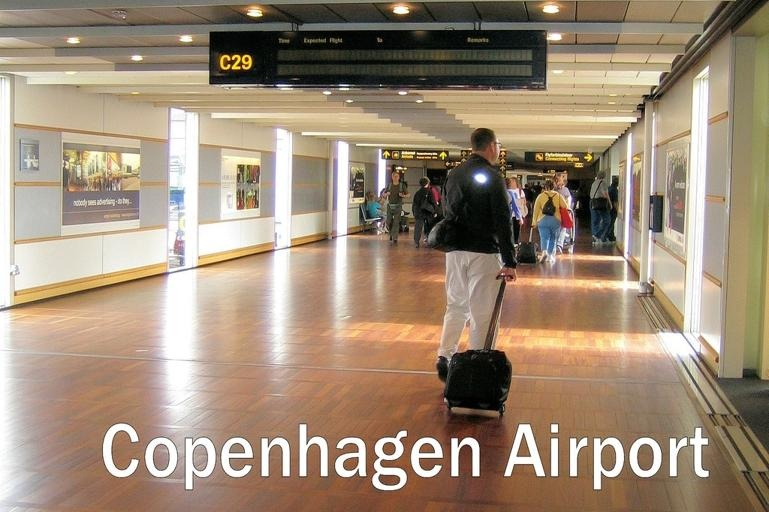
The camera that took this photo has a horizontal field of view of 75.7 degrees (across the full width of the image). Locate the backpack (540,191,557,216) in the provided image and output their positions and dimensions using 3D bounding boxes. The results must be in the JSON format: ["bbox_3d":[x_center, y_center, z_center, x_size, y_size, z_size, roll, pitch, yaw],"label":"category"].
[{"bbox_3d":[4.382,-1.400,13.151,0.598,0.750,0.376,4,10,22],"label":"backpack"}]

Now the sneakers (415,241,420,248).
[{"bbox_3d":[1.170,-0.423,17.672,0.196,0.235,0.625,-1,-6,6],"label":"sneakers"}]

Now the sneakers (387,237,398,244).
[{"bbox_3d":[0.341,-0.591,19.382,0.315,0.283,0.183,1,1,9],"label":"sneakers"}]

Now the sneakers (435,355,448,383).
[{"bbox_3d":[0.573,1.118,4.866,0.098,0.252,0.118,-5,0,10],"label":"sneakers"}]

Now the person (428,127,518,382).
[{"bbox_3d":[0.850,0.030,4.681,0.753,2.486,0.702,2,7,13],"label":"person"}]

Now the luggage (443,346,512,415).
[{"bbox_3d":[0.844,1.091,4.353,0.550,0.486,0.451,-4,-14,41],"label":"luggage"}]

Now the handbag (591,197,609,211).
[{"bbox_3d":[7.759,-1.867,17.806,0.700,0.465,0.379,0,-3,11],"label":"handbag"}]

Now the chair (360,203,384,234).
[{"bbox_3d":[-0.361,-1.890,24.663,1.337,1.748,1.548,-3,7,-44],"label":"chair"}]

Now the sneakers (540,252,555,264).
[{"bbox_3d":[4.649,0.069,14.116,0.236,0.256,0.673,-1,-5,10],"label":"sneakers"}]
